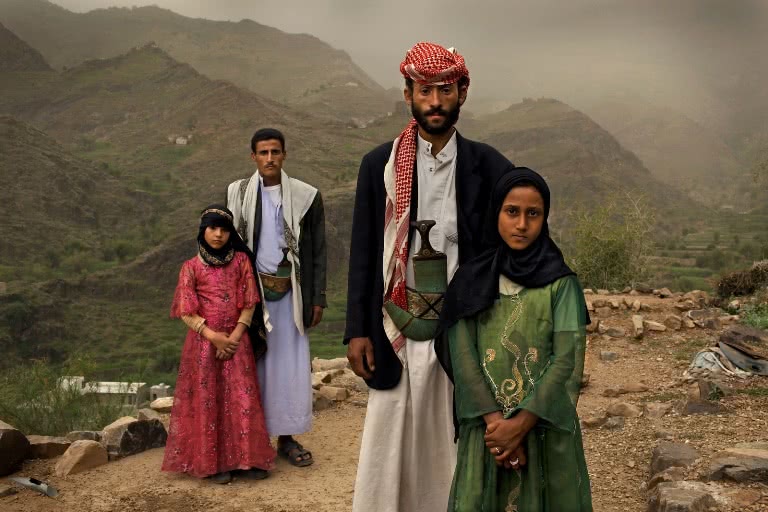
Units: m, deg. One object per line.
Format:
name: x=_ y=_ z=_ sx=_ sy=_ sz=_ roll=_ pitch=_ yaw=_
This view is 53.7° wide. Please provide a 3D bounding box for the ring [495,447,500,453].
ring: x=1.753 y=3.032 z=11.793 sx=0.019 sy=0.066 sz=0.068 roll=-5 pitch=-21 yaw=-20
